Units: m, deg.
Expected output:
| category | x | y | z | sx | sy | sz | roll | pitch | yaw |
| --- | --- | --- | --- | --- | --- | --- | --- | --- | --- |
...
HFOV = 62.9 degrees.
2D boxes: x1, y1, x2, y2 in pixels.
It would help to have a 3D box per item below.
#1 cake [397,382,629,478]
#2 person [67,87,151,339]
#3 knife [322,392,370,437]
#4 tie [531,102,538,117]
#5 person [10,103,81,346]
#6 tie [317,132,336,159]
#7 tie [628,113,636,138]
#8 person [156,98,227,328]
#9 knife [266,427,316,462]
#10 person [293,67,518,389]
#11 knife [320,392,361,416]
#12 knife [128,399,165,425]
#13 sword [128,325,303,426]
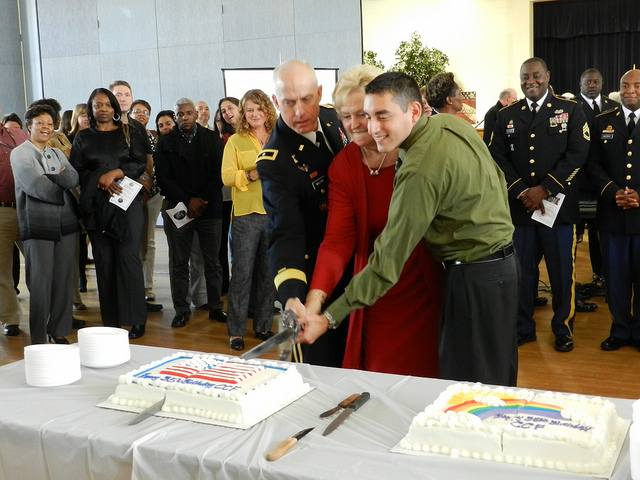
| category | x | y | z | sx | sy | sz | roll | pitch | yaw |
| --- | --- | --- | --- | --- | --- | --- | --- | --- | --- |
| cake | 0.489 | 0.448 | 1.318 | 0.533 | 0.089 | 0.363 | 2 | 5 | 19 |
| person | -1.721 | -0.203 | 4.312 | 0.625 | 2.075 | 0.582 | -4 | 7 | -18 |
| knife | 0.084 | 0.457 | 1.443 | 0.040 | 0.035 | 0.300 | 17 | 20 | 21 |
| tie | 1.568 | -0.961 | 3.830 | 0.034 | 0.090 | 0.022 | 1 | -6 | 33 |
| person | -2.121 | -0.108 | 4.088 | 0.457 | 1.876 | 0.332 | -4 | 6 | -33 |
| tie | 0.021 | -0.418 | 2.288 | 0.075 | 0.110 | 0.038 | 0 | 16 | 20 |
| tie | 2.203 | -0.820 | 3.692 | 0.044 | 0.151 | 0.044 | 3 | 6 | 29 |
| person | -1.173 | -0.270 | 4.768 | 0.601 | 2.067 | 0.438 | -1 | 5 | -13 |
| knife | -0.071 | 0.488 | 1.240 | 0.026 | 0.017 | 0.192 | -4 | 4 | 26 |
| person | 0.329 | -0.188 | 2.685 | 0.986 | 2.042 | 0.949 | 0 | 12 | 9 |
| knife | 0.056 | 0.427 | 1.415 | 0.032 | 0.016 | 0.185 | 10 | 15 | 28 |
| knife | -0.476 | 0.476 | 1.436 | 0.004 | 0.024 | 0.087 | 0 | 28 | 28 |
| sword | -0.408 | 0.364 | 1.680 | 0.576 | 0.174 | 0.497 | 1 | 4 | 27 |
